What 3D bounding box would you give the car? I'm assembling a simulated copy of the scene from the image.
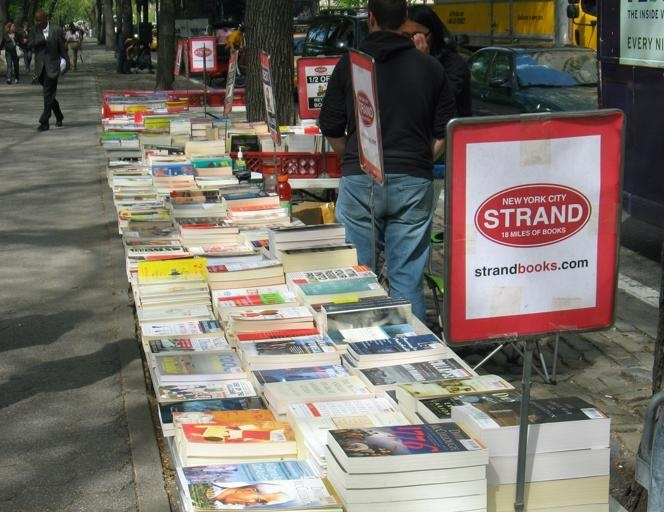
[{"bbox_3d":[3.963,-3.331,12.393,1.966,1.300,3.507,-3,14,-7],"label":"car"}]
